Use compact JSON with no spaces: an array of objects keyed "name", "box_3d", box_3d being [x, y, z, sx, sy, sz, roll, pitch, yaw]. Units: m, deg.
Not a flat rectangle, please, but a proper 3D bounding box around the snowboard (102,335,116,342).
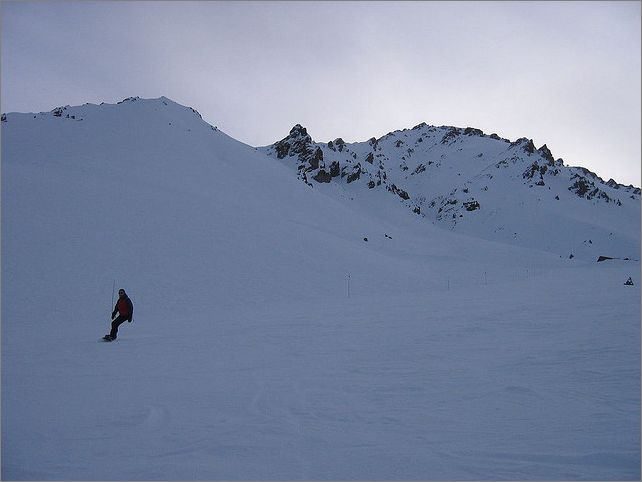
[{"name":"snowboard","box_3d":[-14.678,6.697,63.091,0.735,0.307,0.399,-5,-3,20]}]
